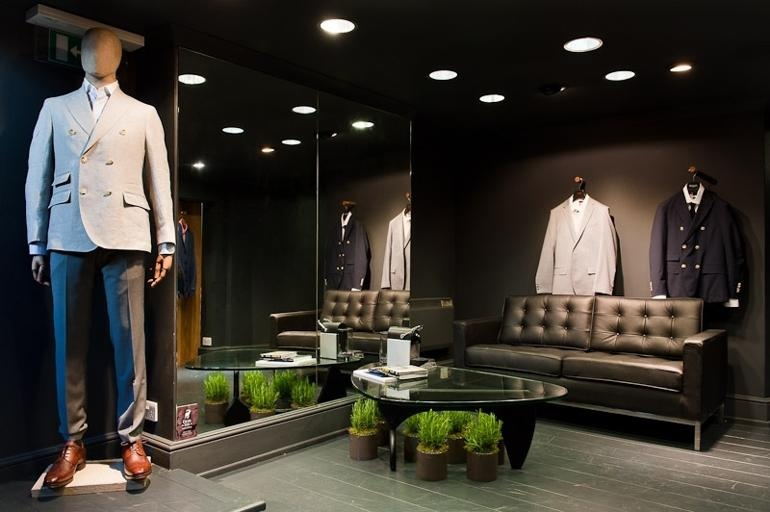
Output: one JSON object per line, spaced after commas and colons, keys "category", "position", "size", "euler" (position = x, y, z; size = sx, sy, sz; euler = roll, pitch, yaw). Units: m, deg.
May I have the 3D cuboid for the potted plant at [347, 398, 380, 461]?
{"category": "potted plant", "position": [-0.180, 1.333, 4.442], "size": [0.282, 0.441, 0.281], "euler": [-1, -8, -4]}

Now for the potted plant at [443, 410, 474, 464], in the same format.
{"category": "potted plant", "position": [0.492, 1.338, 4.301], "size": [0.298, 0.458, 0.314], "euler": [0, -2, 3]}

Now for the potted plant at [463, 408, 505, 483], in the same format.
{"category": "potted plant", "position": [0.688, 1.350, 4.050], "size": [0.233, 0.421, 0.207], "euler": [-3, 9, -36]}

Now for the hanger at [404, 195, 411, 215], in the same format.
{"category": "hanger", "position": [0.205, -0.522, 5.715], "size": [0.047, 0.213, 0.056], "euler": [5, -7, 30]}

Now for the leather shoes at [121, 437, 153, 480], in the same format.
{"category": "leather shoes", "position": [-1.627, 1.334, 3.715], "size": [0.122, 0.147, 0.330], "euler": [0, -6, -29]}

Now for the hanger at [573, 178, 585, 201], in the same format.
{"category": "hanger", "position": [2.054, -0.717, 6.061], "size": [0.134, 0.232, 0.170], "euler": [5, 8, 18]}

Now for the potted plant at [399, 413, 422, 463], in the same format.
{"category": "potted plant", "position": [0.201, 1.380, 4.407], "size": [0.263, 0.311, 0.281], "euler": [1, 0, 6]}

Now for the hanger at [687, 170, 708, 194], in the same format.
{"category": "hanger", "position": [2.979, -0.718, 5.481], "size": [0.161, 0.248, 0.129], "euler": [6, 8, 29]}

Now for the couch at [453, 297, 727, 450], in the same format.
{"category": "couch", "position": [1.890, 0.981, 5.458], "size": [2.315, 1.171, 0.968], "euler": [-2, -2, 45]}

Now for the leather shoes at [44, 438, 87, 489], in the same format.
{"category": "leather shoes", "position": [-2.025, 1.318, 3.614], "size": [0.120, 0.157, 0.345], "euler": [1, -4, -1]}

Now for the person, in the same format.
{"category": "person", "position": [-1.843, -0.020, 3.708], "size": [0.870, 2.871, 0.637], "euler": [-1, 8, -25]}

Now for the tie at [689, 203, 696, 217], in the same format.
{"category": "tie", "position": [2.921, -0.443, 5.440], "size": [0.075, 0.113, 0.027], "euler": [2, -1, 34]}

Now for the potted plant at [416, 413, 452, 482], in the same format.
{"category": "potted plant", "position": [0.335, 1.341, 4.112], "size": [0.263, 0.446, 0.241], "euler": [8, -10, -14]}
